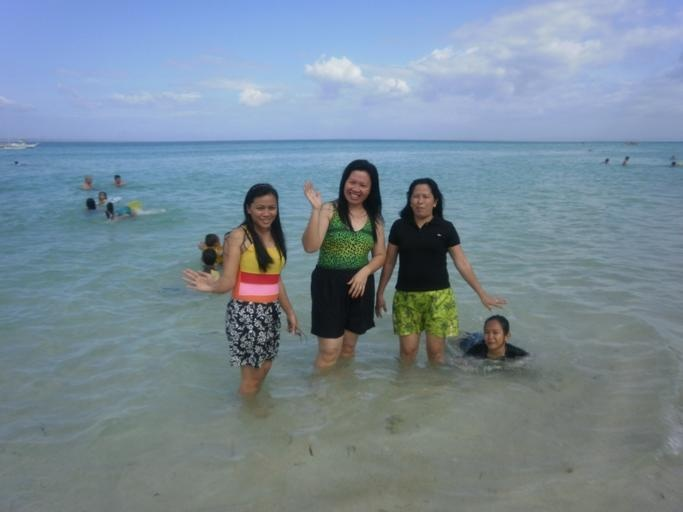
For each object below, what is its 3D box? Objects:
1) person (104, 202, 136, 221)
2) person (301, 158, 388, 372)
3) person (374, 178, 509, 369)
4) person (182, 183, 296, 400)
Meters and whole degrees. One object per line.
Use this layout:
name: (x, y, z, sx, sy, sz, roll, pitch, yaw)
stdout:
person: (-6.392, -1.301, 14.502, 0.441, 0.549, 0.869, 4, 16, 28)
person: (0.063, 0.169, 5.791, 0.941, 2.484, 0.609, -5, 15, -5)
person: (0.974, 0.245, 5.990, 1.177, 2.290, 0.454, 0, 15, 12)
person: (-0.972, 0.430, 5.421, 0.907, 2.373, 0.665, -3, 15, 3)
